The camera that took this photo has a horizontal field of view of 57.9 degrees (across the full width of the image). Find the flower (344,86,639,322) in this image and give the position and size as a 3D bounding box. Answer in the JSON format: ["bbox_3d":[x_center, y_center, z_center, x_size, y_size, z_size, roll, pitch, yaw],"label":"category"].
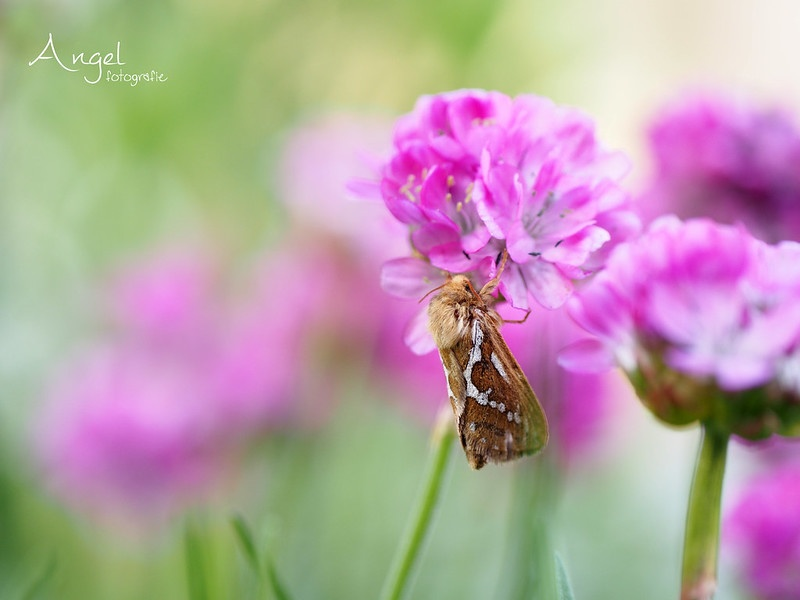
[{"bbox_3d":[0.101,-0.080,0.745,0.105,0.268,0.252,-29,-8,-15],"label":"flower"}]

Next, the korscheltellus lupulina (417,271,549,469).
[{"bbox_3d":[0.088,0.074,0.761,0.094,0.211,0.078,-17,1,26],"label":"korscheltellus lupulina"}]
